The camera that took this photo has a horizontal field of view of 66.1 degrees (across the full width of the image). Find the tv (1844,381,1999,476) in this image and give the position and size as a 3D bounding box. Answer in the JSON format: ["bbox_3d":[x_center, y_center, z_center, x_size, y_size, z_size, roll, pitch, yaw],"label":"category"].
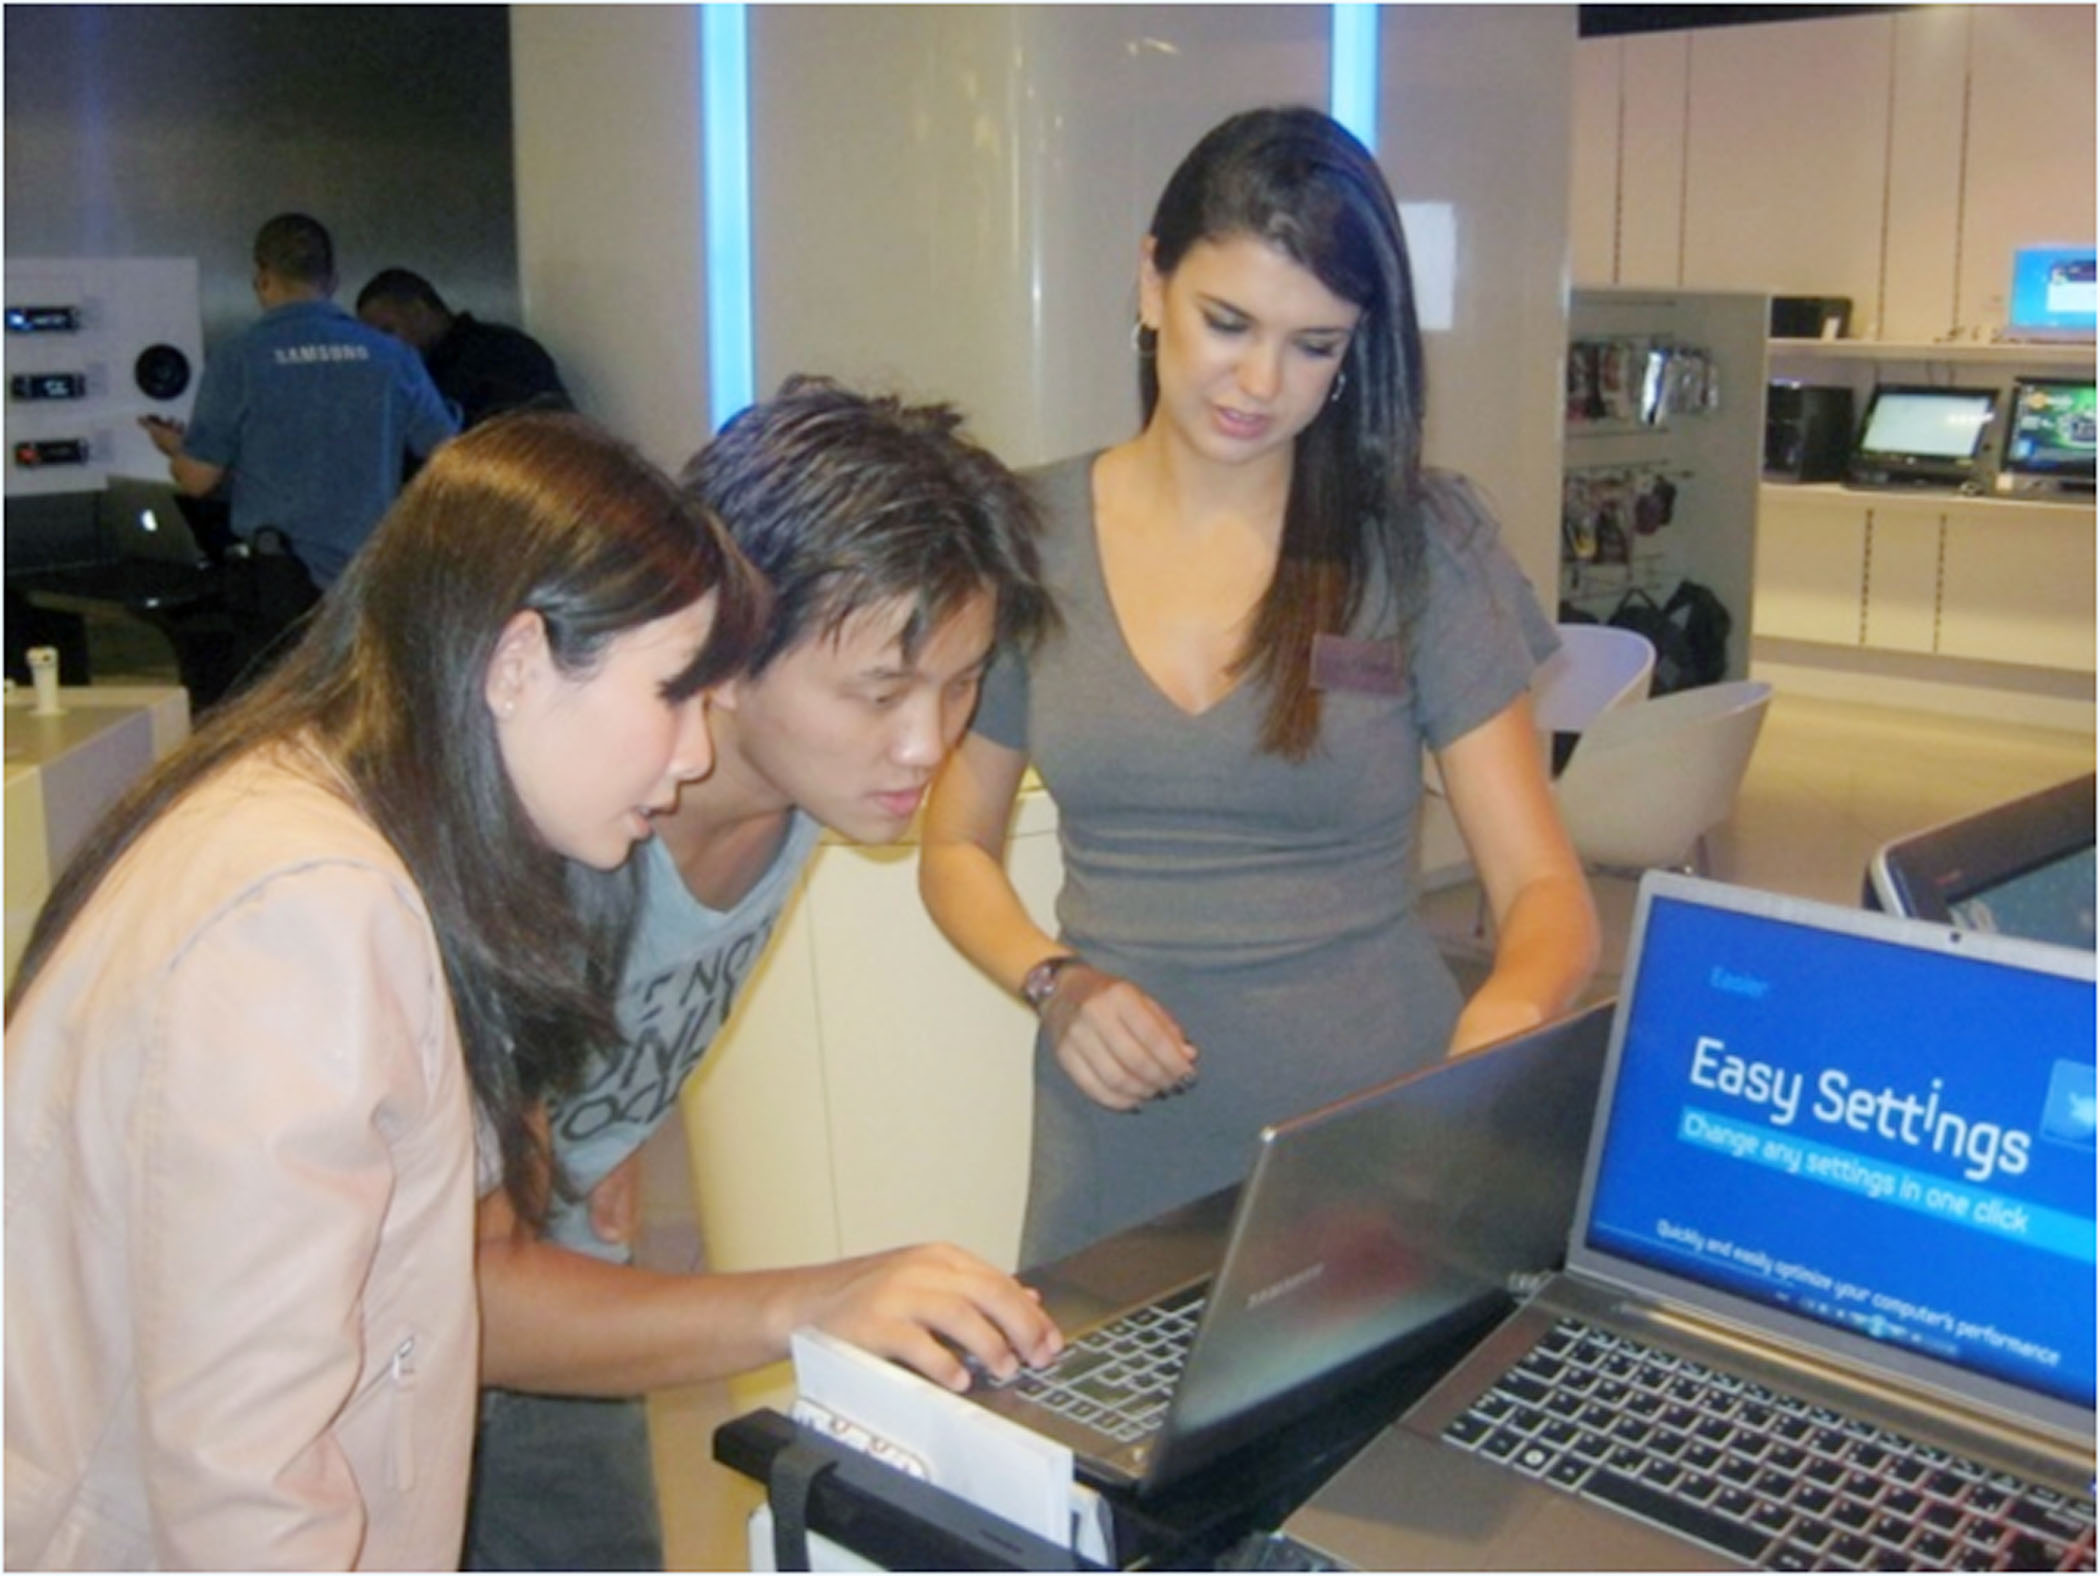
[{"bbox_3d":[4.290,-1.755,7.937,0.789,0.597,0.429,6,9,40],"label":"tv"}]

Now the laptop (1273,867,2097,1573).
[{"bbox_3d":[0.446,0.331,1.037,0.439,0.287,0.459,12,18,40],"label":"laptop"}]

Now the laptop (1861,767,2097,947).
[{"bbox_3d":[0.791,0.072,1.346,0.256,0.156,0.057,-16,7,-35],"label":"laptop"}]

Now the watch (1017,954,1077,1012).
[{"bbox_3d":[-0.004,0.191,1.585,0.013,0.049,0.048,37,35,-2],"label":"watch"}]

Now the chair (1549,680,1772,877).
[{"bbox_3d":[1.583,-0.030,4.215,0.449,0.665,0.442,14,25,32],"label":"chair"}]

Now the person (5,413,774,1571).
[{"bbox_3d":[-0.466,0.144,1.075,0.371,0.758,0.444,6,15,29],"label":"person"}]
